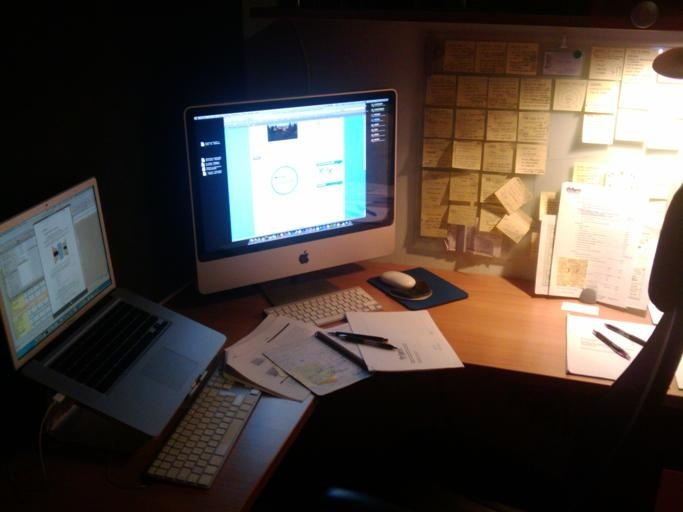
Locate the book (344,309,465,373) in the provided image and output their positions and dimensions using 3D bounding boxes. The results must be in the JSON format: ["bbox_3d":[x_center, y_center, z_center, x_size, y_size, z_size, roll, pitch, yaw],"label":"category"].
[{"bbox_3d":[0.179,0.242,1.509,0.173,0.020,0.187,-3,33,-7],"label":"book"}]

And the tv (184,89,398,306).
[{"bbox_3d":[-0.162,-0.181,1.633,0.640,0.541,0.086,-12,23,-24],"label":"tv"}]

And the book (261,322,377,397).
[{"bbox_3d":[-0.070,0.285,1.427,0.263,0.037,0.173,25,33,37],"label":"book"}]
